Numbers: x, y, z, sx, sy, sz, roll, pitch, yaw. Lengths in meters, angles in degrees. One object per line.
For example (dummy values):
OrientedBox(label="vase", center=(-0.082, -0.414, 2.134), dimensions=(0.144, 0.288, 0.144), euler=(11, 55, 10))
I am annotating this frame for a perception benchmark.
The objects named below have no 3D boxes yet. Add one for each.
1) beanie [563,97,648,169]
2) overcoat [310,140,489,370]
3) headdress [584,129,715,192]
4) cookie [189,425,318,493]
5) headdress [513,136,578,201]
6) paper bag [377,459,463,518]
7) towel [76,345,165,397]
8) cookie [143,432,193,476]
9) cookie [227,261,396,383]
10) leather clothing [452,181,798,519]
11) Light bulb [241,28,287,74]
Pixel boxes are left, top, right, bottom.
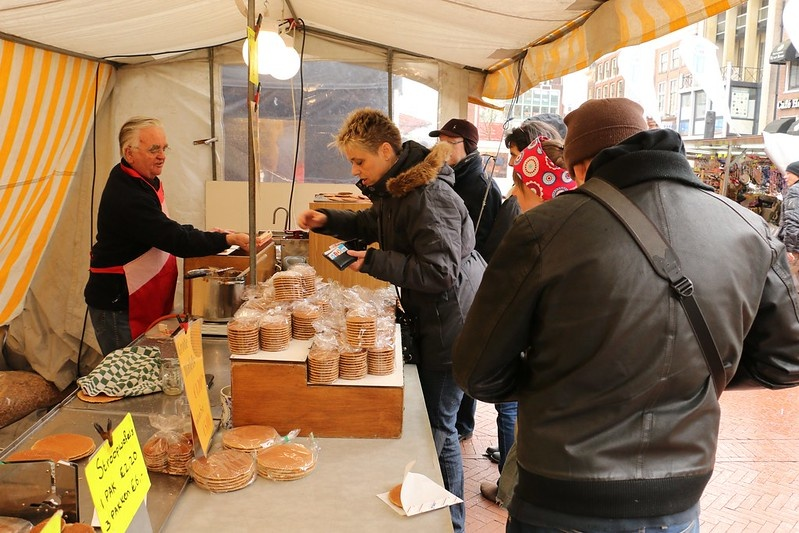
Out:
OrientedBox(label="beanie", center=(0.783, -0.512, 2.247), dimensions=(0.339, 0.243, 0.238), euler=(-12, -5, -2))
OrientedBox(label="overcoat", center=(0.075, -0.134, 3.979), dimensions=(1.263, 1.860, 0.913), euler=(-3, 5, -8))
OrientedBox(label="headdress", center=(0.890, -0.333, 2.071), dimensions=(0.253, 0.139, 0.275), euler=(-11, 2, -44))
OrientedBox(label="cookie", center=(-0.567, 0.766, 2.344), dimensions=(0.271, 0.043, 0.260), euler=(4, 16, 2))
OrientedBox(label="headdress", center=(0.868, -0.576, 3.184), dimensions=(0.382, 0.238, 0.423), euler=(5, 36, 19))
OrientedBox(label="paper bag", center=(0.077, 0.864, 2.276), dimensions=(0.283, 0.073, 0.272), euler=(-2, 9, -29))
OrientedBox(label="towel", center=(-1.276, 0.492, 2.775), dimensions=(0.320, 0.049, 0.383), euler=(16, 20, -5))
OrientedBox(label="cookie", center=(-0.909, 0.745, 2.318), dimensions=(0.152, 0.067, 0.177), euler=(1, 13, 1))
OrientedBox(label="cookie", center=(-0.369, 0.277, 2.670), dimensions=(0.664, 0.184, 0.612), euler=(1, 17, 2))
OrientedBox(label="leather clothing", center=(0.834, 0.286, 2.148), dimensions=(1.196, 1.179, 0.387), euler=(-1, 2, -12))
OrientedBox(label="Light bulb", center=(-1.080, -1.868, 4.966), dimensions=(0.215, 0.339, 0.352), euler=(-1, 2, -12))
